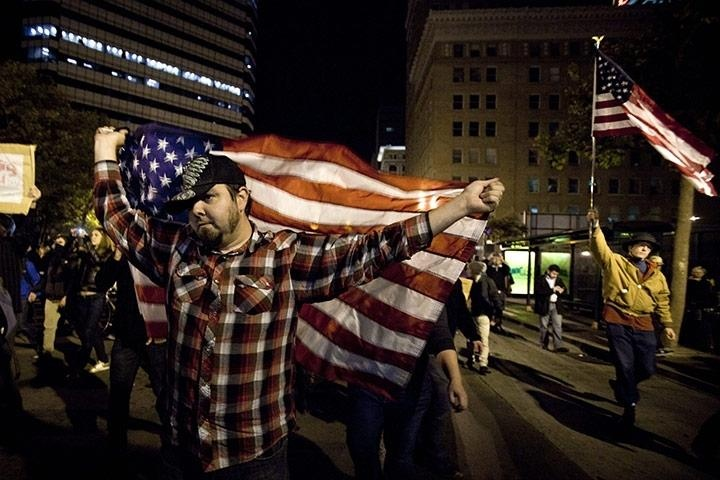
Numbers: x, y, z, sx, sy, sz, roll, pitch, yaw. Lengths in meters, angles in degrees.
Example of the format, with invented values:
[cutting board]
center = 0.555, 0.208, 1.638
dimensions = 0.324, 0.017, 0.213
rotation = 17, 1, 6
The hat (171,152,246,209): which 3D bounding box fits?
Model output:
[hat]
center = -1.628, -0.649, 6.086
dimensions = 0.589, 0.468, 0.873
rotation = -8, 7, 40
